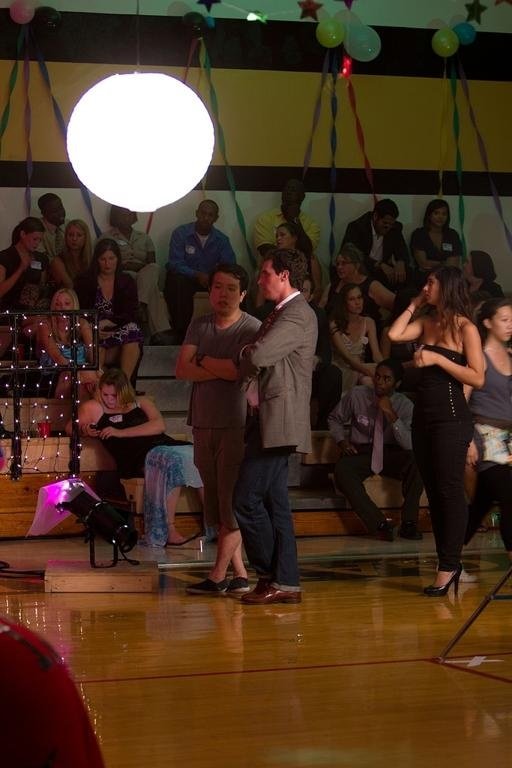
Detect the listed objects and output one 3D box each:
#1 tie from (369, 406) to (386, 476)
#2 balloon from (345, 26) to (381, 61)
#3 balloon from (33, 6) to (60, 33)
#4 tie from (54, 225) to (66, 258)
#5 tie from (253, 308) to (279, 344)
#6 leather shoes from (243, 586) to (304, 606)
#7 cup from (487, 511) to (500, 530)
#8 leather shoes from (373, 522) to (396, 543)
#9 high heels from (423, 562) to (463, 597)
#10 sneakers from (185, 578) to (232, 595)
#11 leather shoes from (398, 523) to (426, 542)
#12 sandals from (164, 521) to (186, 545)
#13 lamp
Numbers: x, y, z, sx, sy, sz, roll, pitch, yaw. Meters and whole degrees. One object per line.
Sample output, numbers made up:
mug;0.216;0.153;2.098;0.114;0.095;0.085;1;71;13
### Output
tie;0.964;0.460;5.224;0.092;0.516;0.161;0;0;11
balloon;1.237;-3.977;7.595;0.441;0.403;0.255;-9;6;5
balloon;-2.293;-3.987;7.265;0.233;0.269;0.297;1;19;-4
tie;-2.127;-1.567;7.154;0.108;0.370;0.263;0;0;-16
tie;0.056;-0.290;3.223;0.109;0.182;0.276;0;0;0
leather shoes;0.084;1.020;3.234;0.291;0.116;0.100;4;-12;-7
cup;1.958;1.127;5.472;0.083;0.136;0.072;0;0;-1
leather shoes;0.965;1.093;4.891;0.081;0.145;0.215;3;-23;-9
high heels;1.001;1.004;3.446;0.159;0.165;0.335;1;0;36
sneakers;-0.241;1.051;3.441;0.226;0.081;0.078;4;-4;-12
leather shoes;1.172;1.118;5.010;0.168;0.106;0.147;0;0;12
sandals;-0.579;1.095;4.822;0.112;0.150;0.104;0;0;19
lamp;-0.479;-1.218;3.406;0.668;1.283;0.666;1;1;25
